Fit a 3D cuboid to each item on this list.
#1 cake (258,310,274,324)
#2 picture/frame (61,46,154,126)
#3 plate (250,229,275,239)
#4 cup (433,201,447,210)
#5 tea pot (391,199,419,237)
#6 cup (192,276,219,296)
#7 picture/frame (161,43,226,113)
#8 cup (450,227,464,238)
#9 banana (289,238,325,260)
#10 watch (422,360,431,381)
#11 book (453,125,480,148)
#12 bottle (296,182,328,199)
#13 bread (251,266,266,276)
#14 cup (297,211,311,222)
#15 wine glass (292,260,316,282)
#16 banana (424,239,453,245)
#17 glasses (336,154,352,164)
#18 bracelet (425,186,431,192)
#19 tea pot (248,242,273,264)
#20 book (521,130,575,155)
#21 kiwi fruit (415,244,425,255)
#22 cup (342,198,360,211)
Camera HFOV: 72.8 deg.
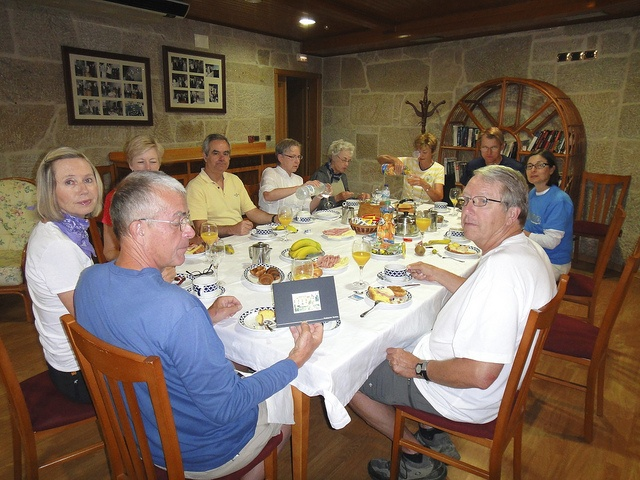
[{"bbox_3d":[-0.248,0.362,2.046,0.063,0.059,0.016,11,-16,-32],"label":"cake"},{"bbox_3d":[-2.421,-1.738,4.846,0.037,0.827,0.984,20,25,40],"label":"picture/frame"},{"bbox_3d":[-0.419,-0.031,3.183,0.104,0.018,0.102,-7,23,-24],"label":"plate"},{"bbox_3d":[1.181,-0.335,4.237,0.148,0.094,0.151,0,12,0],"label":"cup"},{"bbox_3d":[0.690,-0.162,3.455,0.253,0.292,0.299,7,25,13],"label":"tea pot"},{"bbox_3d":[-0.593,0.234,2.248,0.104,0.065,0.105,2,20,-1],"label":"cup"},{"bbox_3d":[-1.665,-2.117,5.611,0.036,0.846,1.015,4,8,40],"label":"picture/frame"},{"bbox_3d":[1.068,-0.057,3.365,0.100,0.084,0.107,3,25,-1],"label":"cup"},{"bbox_3d":[-0.095,0.062,2.733,0.105,0.068,0.206,7,5,25],"label":"banana"},{"bbox_3d":[0.496,0.620,2.043,0.019,0.069,0.070,-3,6,16],"label":"watch"},{"bbox_3d":[1.945,-1.355,5.852,0.375,0.368,0.280,11,14,41],"label":"book"},{"bbox_3d":[-0.059,-0.405,3.544,0.068,0.070,0.234,32,24,19],"label":"bottle"},{"bbox_3d":[-0.349,0.175,2.470,0.054,0.023,0.055,-1,17,13],"label":"bread"},{"bbox_3d":[-0.135,-0.195,3.697,0.096,0.067,0.099,3,19,-1],"label":"cup"},{"bbox_3d":[-0.089,0.158,2.240,0.104,0.102,0.104,2,14,2],"label":"wine glass"},{"bbox_3d":[0.882,0.014,3.203,0.171,0.046,0.033,1,11,-5],"label":"banana"},{"bbox_3d":[0.234,-0.861,4.575,0.114,0.038,0.115,-2,38,-36],"label":"glasses"},{"bbox_3d":[1.158,-0.542,4.635,0.049,0.036,0.048,-9,24,-18],"label":"bracelet"},{"bbox_3d":[-0.383,0.076,2.691,0.168,0.159,0.111,3,9,9],"label":"tea pot"},{"bbox_3d":[2.633,-1.110,4.936,0.522,0.184,0.508,-24,29,-28],"label":"book"},{"bbox_3d":[0.678,0.078,2.959,0.063,0.075,0.064,4,44,4],"label":"kiwi fruit"},{"bbox_3d":[0.305,-0.348,4.162,0.153,0.065,0.124,-8,17,-20],"label":"cup"}]
